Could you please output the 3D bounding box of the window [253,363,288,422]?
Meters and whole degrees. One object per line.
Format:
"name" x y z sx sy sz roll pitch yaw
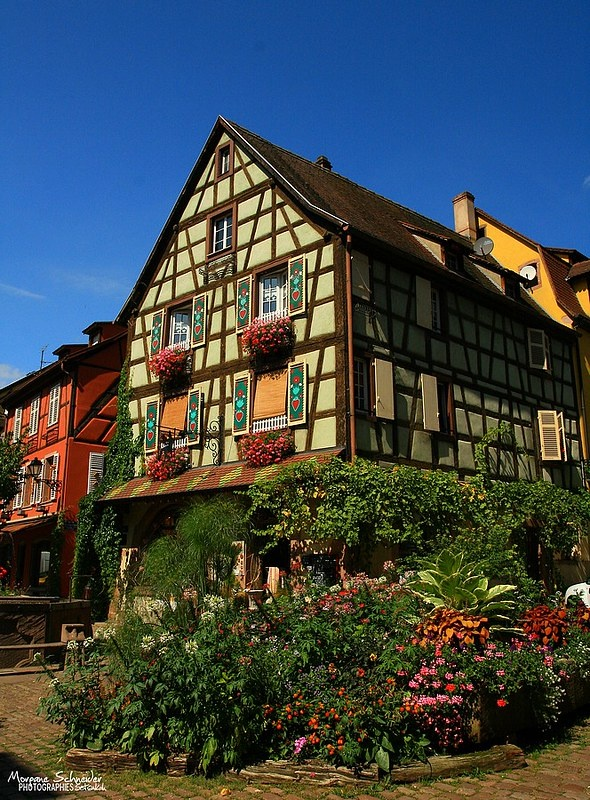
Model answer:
"window" -0.433 -0.104 13.382 0.052 0.983 0.945 24 -32 -38

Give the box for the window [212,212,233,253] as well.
"window" -1.615 -3.743 15.823 0.720 1.310 0.082 -26 -40 35

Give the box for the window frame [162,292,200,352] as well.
"window frame" -2.615 -1.764 16.328 1.243 1.550 0.127 -16 -34 35

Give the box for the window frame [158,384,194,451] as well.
"window frame" -2.595 0.435 15.568 1.099 1.398 0.118 -27 -39 36

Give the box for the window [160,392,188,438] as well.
"window" -2.656 0.379 15.662 0.794 0.905 0.098 -25 -38 39

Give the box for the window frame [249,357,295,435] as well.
"window frame" -0.401 -0.031 13.312 0.151 1.504 1.140 24 -32 -37

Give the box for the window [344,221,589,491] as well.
"window" 3.612 -0.653 14.983 5.964 5.696 3.355 13 -20 -41
